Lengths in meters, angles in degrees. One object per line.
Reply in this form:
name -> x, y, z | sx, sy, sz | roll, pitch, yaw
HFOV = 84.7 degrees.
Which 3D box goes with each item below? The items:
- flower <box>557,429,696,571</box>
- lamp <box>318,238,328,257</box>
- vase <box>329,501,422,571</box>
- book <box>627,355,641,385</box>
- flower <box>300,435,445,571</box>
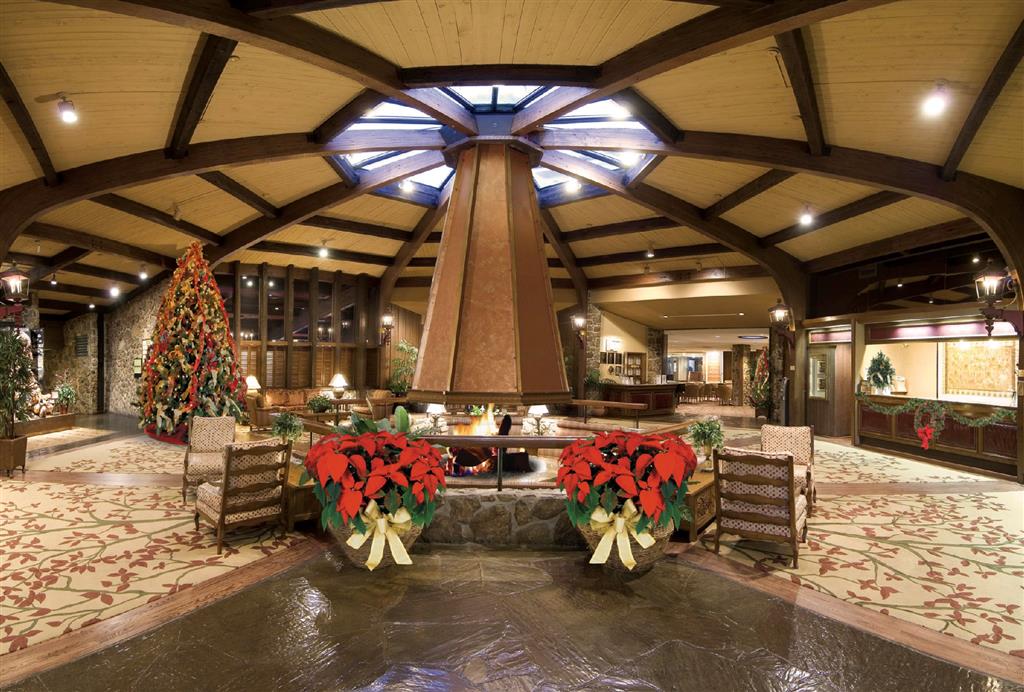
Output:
flower -> 1.032, 1.368, 5.159 | 1.525, 0.980, 1.268 | 1, -10, -4
lamp -> -4.989, -2.543, 14.940 | 0.291, 0.493, 0.831 | -3, 13, -18
vase -> -1.164, 1.611, 4.979 | 0.865, 0.411, 0.725 | -1, -2, 1
book -> 4.043, 0.736, 18.639 | 0.338, 1.002, 0.836 | 9, 16, 26
flower -> -1.238, 1.308, 5.097 | 1.449, 0.955, 1.276 | 3, -9, -26
